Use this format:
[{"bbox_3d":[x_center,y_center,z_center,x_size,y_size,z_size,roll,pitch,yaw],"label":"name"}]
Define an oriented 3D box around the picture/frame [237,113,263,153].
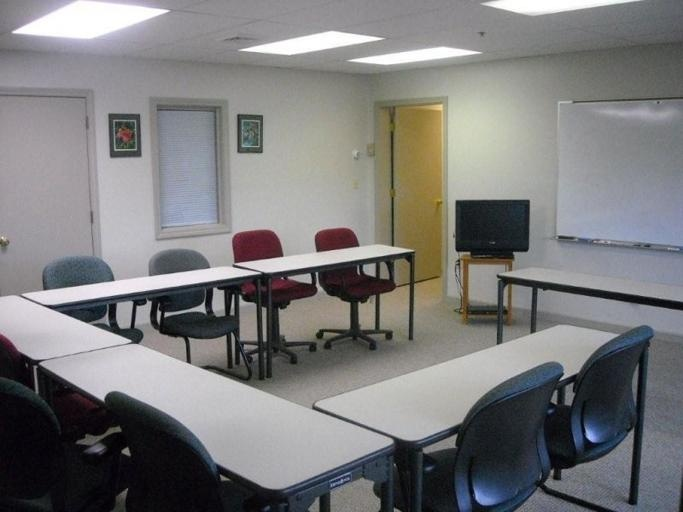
[{"bbox_3d":[-1.166,-1.559,6.651,0.478,0.641,0.046,-4,6,-39],"label":"picture/frame"}]
